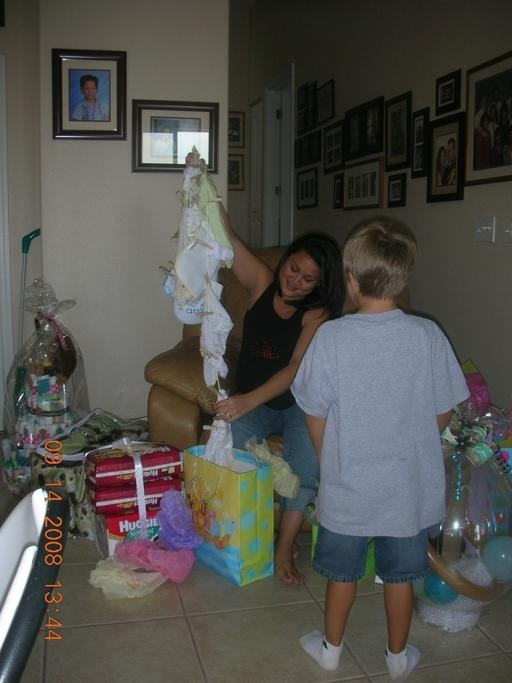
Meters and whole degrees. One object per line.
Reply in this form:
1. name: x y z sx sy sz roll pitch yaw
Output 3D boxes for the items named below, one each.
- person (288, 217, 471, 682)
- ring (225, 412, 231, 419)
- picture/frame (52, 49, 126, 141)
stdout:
1. person: 0.290 0.284 1.285 0.429 1.138 0.236 2 3 24
2. ring: -0.094 0.248 1.724 0.016 0.025 0.008 -11 13 -31
3. picture/frame: -0.916 -1.352 2.864 0.378 0.470 0.024 -12 55 -27
